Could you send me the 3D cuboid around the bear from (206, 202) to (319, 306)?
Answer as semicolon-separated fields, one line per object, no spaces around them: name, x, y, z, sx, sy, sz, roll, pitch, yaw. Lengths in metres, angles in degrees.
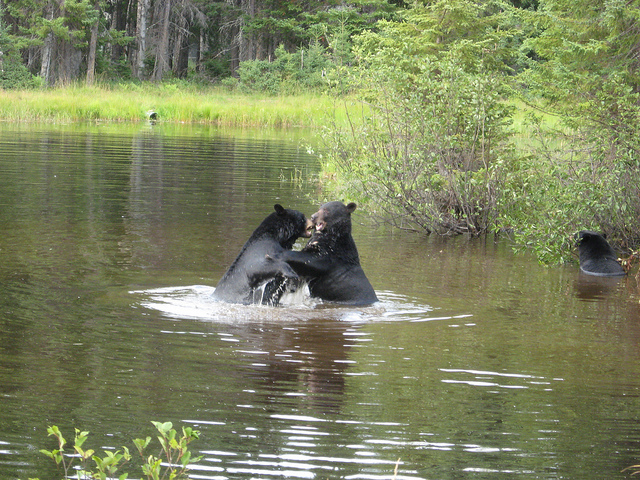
bear;-0.688;0.273;14.323;1.292;1.439;1.331;-5;16;-40

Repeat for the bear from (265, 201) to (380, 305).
bear;0.157;0.275;14.846;2.325;1.677;0.829;0;9;-33

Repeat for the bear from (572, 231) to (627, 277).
bear;4.767;0.259;17.491;0.831;0.728;0.790;-4;5;14
